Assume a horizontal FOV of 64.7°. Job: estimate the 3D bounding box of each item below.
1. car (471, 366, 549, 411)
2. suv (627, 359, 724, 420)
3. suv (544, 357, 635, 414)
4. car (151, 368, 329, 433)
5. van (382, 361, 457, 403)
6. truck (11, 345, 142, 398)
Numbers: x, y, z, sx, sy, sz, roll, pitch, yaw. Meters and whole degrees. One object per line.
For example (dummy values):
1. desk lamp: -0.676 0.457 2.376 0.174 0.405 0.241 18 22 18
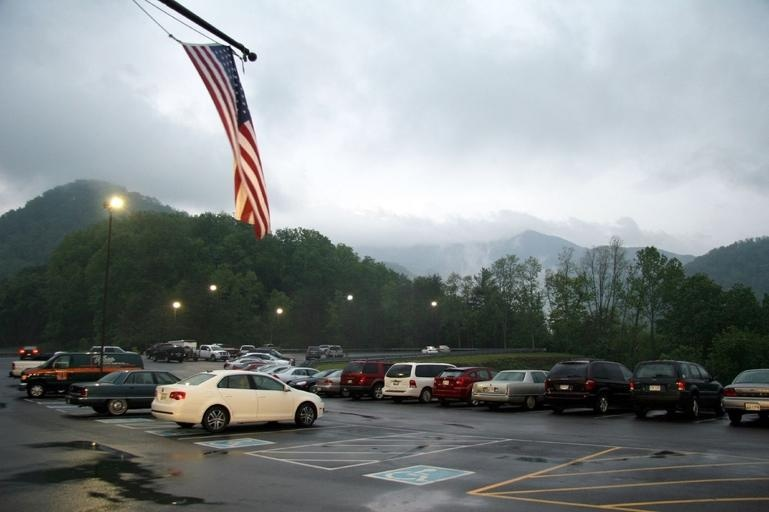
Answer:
1. car: 6.099 6.262 29.005 3.370 1.881 1.443 9 -17 -24
2. suv: 12.616 5.710 26.134 3.926 2.338 1.562 9 -16 -23
3. suv: 9.323 5.863 27.649 3.640 2.369 1.449 8 -16 -21
4. car: -5.206 5.100 22.454 5.692 1.859 2.405 2 -5 -28
5. van: 2.023 6.707 33.080 3.634 1.384 1.913 0 -4 -36
6. truck: -16.525 6.799 32.791 6.589 2.363 3.081 2 -5 -21
